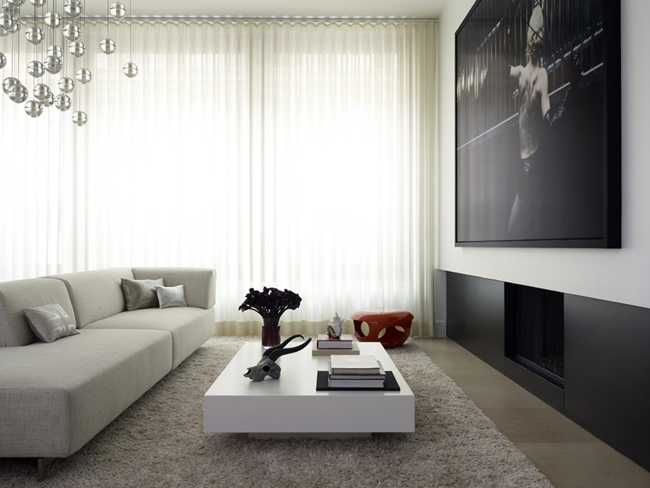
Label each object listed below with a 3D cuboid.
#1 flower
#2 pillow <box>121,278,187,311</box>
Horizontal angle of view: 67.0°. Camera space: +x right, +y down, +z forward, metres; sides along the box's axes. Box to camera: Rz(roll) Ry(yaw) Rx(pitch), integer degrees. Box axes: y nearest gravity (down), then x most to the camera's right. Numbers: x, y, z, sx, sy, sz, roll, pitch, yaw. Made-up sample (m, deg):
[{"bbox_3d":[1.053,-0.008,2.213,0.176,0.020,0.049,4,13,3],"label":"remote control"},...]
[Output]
[{"bbox_3d":[-0.379,0.539,3.788,0.457,0.481,0.445,-3,6,-43],"label":"flower"},{"bbox_3d":[-1.672,0.489,4.694,0.355,0.121,0.381,11,19,-22],"label":"pillow"}]
